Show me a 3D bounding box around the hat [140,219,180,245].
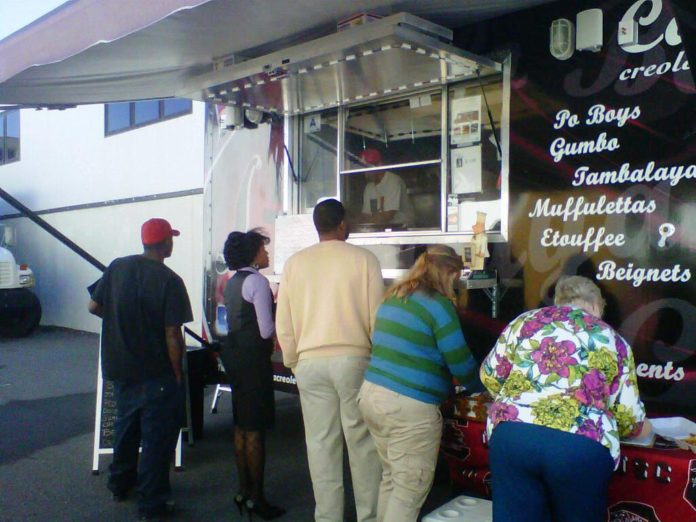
[{"bbox_3d":[-1.273,-0.203,5.050,0.160,0.154,0.249,11,22,32],"label":"hat"}]

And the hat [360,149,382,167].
[{"bbox_3d":[0.198,-0.898,6.417,0.117,0.172,0.164,2,24,15],"label":"hat"}]

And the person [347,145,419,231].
[{"bbox_3d":[0.279,-0.552,6.375,0.552,0.837,0.429,-7,-1,-29],"label":"person"}]

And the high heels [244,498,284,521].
[{"bbox_3d":[-0.549,1.613,4.860,0.242,0.138,0.140,-1,2,-16],"label":"high heels"}]

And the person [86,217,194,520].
[{"bbox_3d":[-1.379,0.699,4.974,0.576,1.937,0.452,4,7,39],"label":"person"}]
